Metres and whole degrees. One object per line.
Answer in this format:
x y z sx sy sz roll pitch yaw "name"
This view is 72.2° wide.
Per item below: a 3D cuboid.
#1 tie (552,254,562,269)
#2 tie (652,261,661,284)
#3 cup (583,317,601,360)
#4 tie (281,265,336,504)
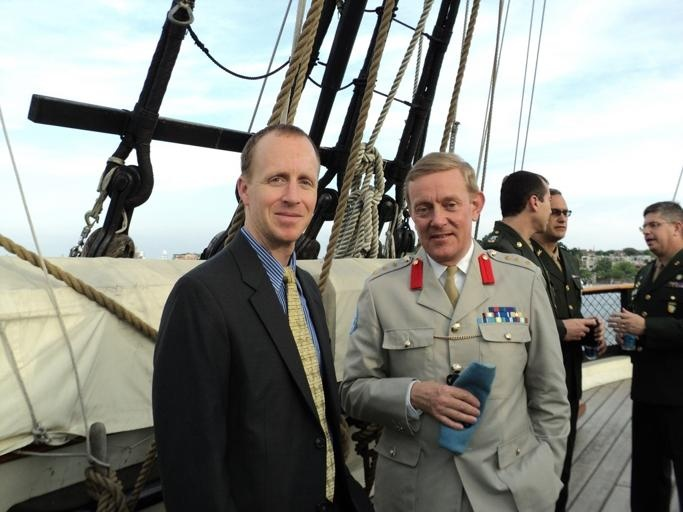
1.446 0.037 3.146 0.053 0.069 0.081 -5 -43 9 "tie"
2.264 0.116 3.376 0.046 0.148 0.097 6 -1 -6 "tie"
1.537 0.504 2.874 0.084 0.190 0.165 3 -2 30 "cup"
-0.141 0.365 1.770 0.129 1.039 0.048 -4 -12 -30 "tie"
